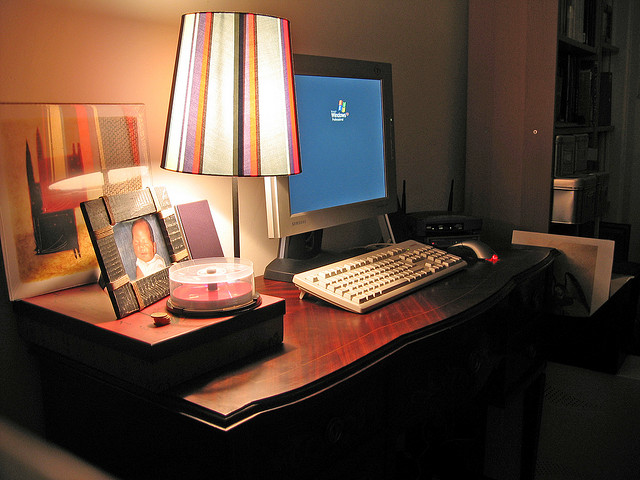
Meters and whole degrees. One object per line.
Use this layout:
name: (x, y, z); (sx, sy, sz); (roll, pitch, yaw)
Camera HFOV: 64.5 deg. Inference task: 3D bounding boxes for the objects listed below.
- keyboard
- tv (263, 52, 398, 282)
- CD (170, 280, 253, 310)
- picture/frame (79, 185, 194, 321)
keyboard: (0.188, 0.092, 1.353); (0.221, 0.093, 0.516); (6, 14, 42)
tv: (0.045, -0.213, 1.458); (0.110, 0.581, 0.557); (12, 17, 36)
CD: (-0.207, 0.103, 0.960); (0.161, 0.043, 0.084); (-7, 16, -10)
picture/frame: (-0.374, 0.032, 1.002); (0.096, 0.192, 0.222); (2, 13, 17)
